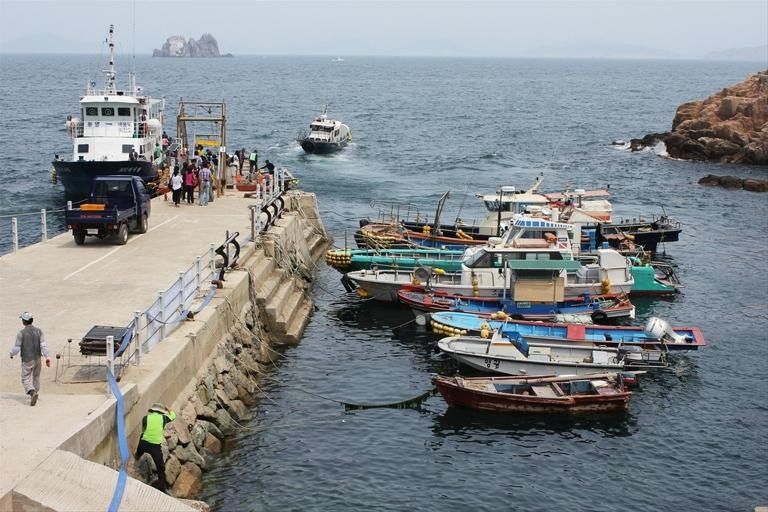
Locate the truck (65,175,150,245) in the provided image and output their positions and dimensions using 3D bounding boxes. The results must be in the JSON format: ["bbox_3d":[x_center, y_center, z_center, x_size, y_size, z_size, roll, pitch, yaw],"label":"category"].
[{"bbox_3d":[-11.853,-2.170,37.018,2.494,1.957,4.188,3,17,5],"label":"truck"}]

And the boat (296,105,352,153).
[{"bbox_3d":[-5.860,-11.433,81.178,3.146,3.201,7.160,10,21,12],"label":"boat"}]
